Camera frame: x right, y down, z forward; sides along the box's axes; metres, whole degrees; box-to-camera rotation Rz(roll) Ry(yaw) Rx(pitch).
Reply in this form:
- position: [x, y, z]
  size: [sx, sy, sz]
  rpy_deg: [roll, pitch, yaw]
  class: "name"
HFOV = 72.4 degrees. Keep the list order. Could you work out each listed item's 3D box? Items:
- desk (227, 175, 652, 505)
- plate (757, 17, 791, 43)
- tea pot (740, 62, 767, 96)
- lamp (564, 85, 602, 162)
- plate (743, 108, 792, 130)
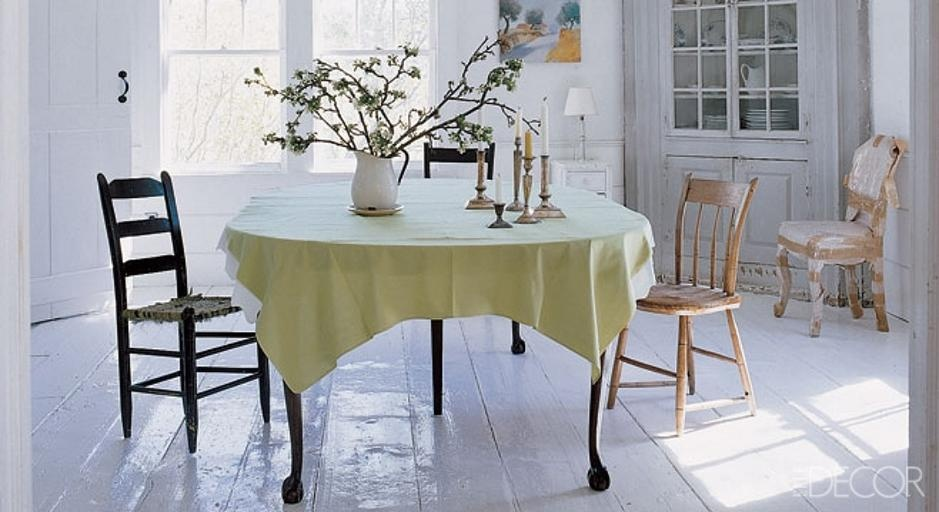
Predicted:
- position: [-0.134, 0.715, 4.509]
  size: [2.787, 1.336, 2.997]
  rpy_deg: [-2, -5, 23]
  class: "desk"
- position: [2.842, -2.057, 5.841]
  size: [0.245, 0.212, 0.061]
  rpy_deg: [4, 14, 21]
  class: "plate"
- position: [2.642, -1.657, 5.981]
  size: [0.305, 0.290, 0.202]
  rpy_deg: [1, 7, 14]
  class: "tea pot"
- position: [1.096, -1.340, 6.434]
  size: [0.318, 0.741, 0.382]
  rpy_deg: [1, 13, 7]
  class: "lamp"
- position: [2.778, -1.271, 5.960]
  size: [0.464, 0.188, 0.069]
  rpy_deg: [4, 14, 22]
  class: "plate"
